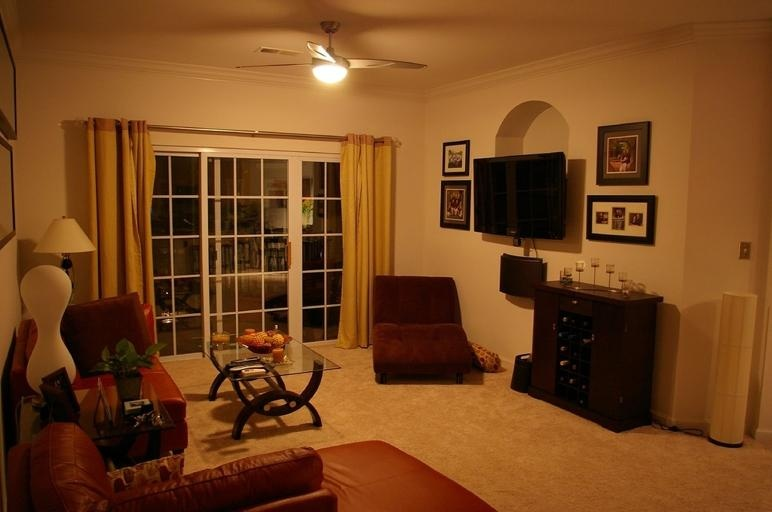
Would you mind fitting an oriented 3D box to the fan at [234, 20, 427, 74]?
[{"bbox_3d":[-0.551,-1.826,5.181,0.918,0.246,0.902,-3,5,-43],"label":"fan"}]

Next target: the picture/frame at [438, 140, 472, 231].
[{"bbox_3d":[0.906,-0.919,7.164,0.156,1.132,0.638,-7,16,-27],"label":"picture/frame"}]

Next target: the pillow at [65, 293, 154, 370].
[{"bbox_3d":[-2.752,0.695,5.303,0.335,0.721,0.741,-18,5,44],"label":"pillow"}]

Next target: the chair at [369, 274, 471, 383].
[{"bbox_3d":[0.390,0.832,6.497,1.112,0.881,1.144,0,8,-2],"label":"chair"}]

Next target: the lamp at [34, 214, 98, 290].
[{"bbox_3d":[-3.252,-0.036,5.687,0.526,0.734,0.514,8,12,29],"label":"lamp"}]

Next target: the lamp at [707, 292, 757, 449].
[{"bbox_3d":[3.067,1.000,4.927,0.268,1.329,0.301,4,15,14],"label":"lamp"}]

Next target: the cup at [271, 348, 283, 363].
[{"bbox_3d":[-0.998,0.916,5.204,0.116,0.125,0.118,0,-2,0],"label":"cup"}]

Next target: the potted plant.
[{"bbox_3d":[-1.940,0.886,4.171,0.436,0.419,0.648,-13,-2,34],"label":"potted plant"}]

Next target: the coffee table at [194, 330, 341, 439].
[{"bbox_3d":[-1.220,1.268,5.560,1.013,0.569,1.451,1,3,-23],"label":"coffee table"}]

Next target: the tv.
[{"bbox_3d":[1.466,-0.681,6.189,0.139,0.890,1.210,-8,9,-40],"label":"tv"}]

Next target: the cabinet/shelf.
[{"bbox_3d":[2.059,0.962,5.352,0.618,1.440,1.289,-1,5,-29],"label":"cabinet/shelf"}]

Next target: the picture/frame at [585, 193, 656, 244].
[{"bbox_3d":[2.329,-0.379,5.470,0.504,0.403,0.035,6,4,44],"label":"picture/frame"}]

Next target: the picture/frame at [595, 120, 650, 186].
[{"bbox_3d":[2.334,-1.010,5.447,0.663,0.806,0.056,4,3,42],"label":"picture/frame"}]
